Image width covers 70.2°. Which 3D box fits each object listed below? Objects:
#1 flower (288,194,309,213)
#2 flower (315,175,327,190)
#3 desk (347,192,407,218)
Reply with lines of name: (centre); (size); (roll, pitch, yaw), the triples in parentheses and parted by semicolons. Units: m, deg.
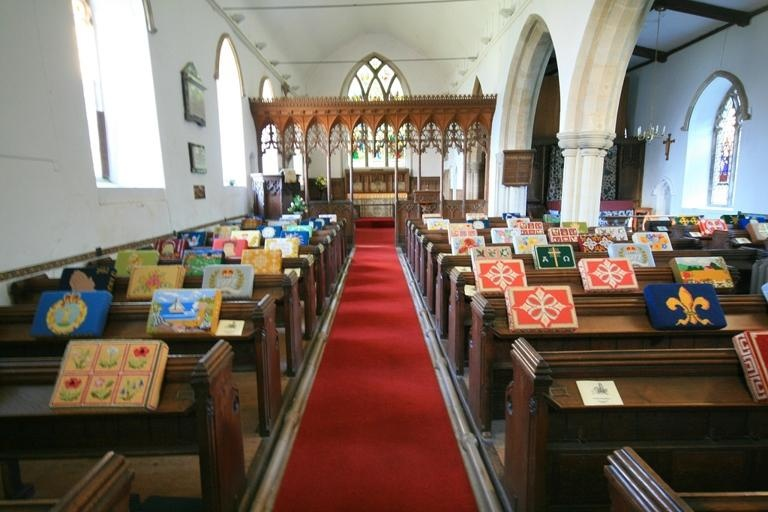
flower: (-2.222, -1.315, 13.742); (0.472, 0.602, 0.485); (-4, 8, -31)
flower: (-2.119, -2.447, 18.210); (0.430, 0.451, 0.238); (-1, 2, -8)
desk: (-0.233, -1.842, 19.460); (1.674, 0.759, 2.914); (-1, 9, -1)
